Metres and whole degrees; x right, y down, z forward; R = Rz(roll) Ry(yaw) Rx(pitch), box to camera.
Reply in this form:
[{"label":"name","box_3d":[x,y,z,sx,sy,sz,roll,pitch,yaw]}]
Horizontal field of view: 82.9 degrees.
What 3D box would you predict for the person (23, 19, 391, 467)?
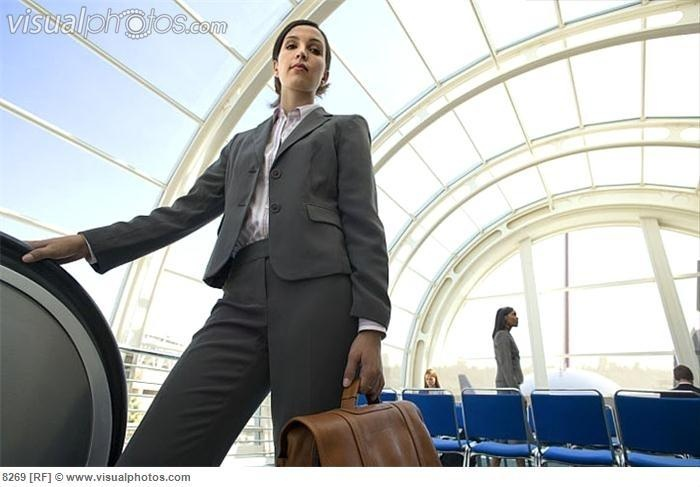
[{"label":"person","box_3d":[-0.267,-0.110,1.924,0.865,2.099,0.667,20,-33,-34]}]
